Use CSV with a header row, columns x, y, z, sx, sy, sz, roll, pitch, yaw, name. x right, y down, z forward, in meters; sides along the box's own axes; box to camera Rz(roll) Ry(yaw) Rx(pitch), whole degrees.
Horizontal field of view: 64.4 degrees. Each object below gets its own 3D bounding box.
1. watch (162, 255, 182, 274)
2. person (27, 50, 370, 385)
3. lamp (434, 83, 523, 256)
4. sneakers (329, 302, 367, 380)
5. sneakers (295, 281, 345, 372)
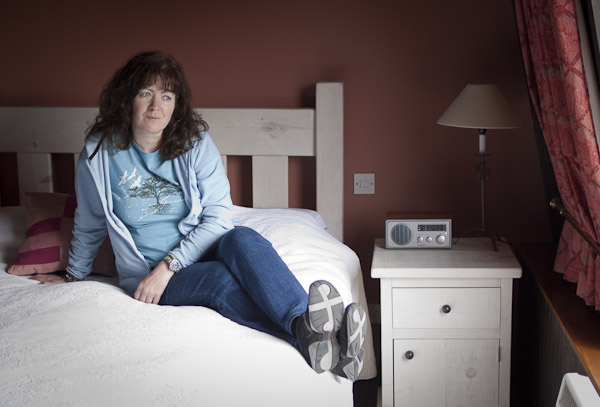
x,y,z,sx,sy,sz,roll,pitch,yaw,name
-0.492,0.232,1.846,0.071,0.026,0.051,39,17,35,watch
-0.386,-0.034,1.883,0.589,1.023,1.694,-7,11,-41,person
0.881,-0.198,2.367,0.365,0.826,0.433,2,3,22,lamp
0.188,0.462,1.647,0.089,0.309,0.117,8,-3,-27,sneakers
0.065,0.389,1.621,0.121,0.345,0.143,-2,1,-25,sneakers
